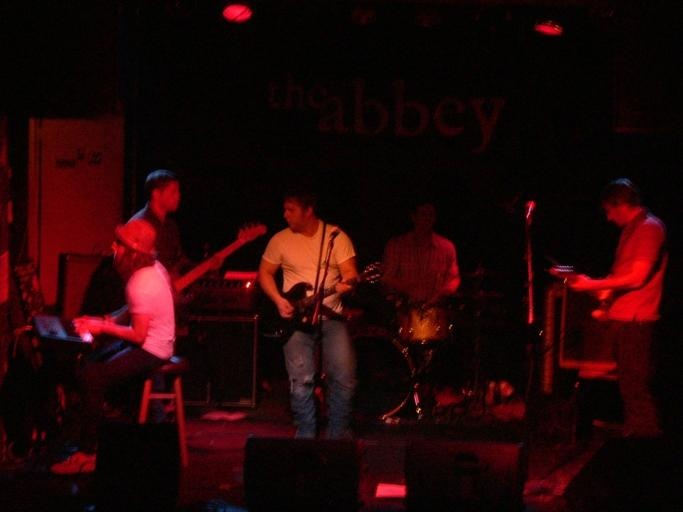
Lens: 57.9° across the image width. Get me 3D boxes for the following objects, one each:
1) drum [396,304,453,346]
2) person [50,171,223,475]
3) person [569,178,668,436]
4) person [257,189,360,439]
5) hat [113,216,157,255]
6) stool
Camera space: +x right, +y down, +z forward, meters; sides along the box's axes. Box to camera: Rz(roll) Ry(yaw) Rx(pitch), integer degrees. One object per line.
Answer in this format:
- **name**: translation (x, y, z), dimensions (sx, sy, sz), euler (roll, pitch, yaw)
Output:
- **drum**: translation (0.773, 0.608, 5.645), dimensions (0.474, 0.363, 0.467), euler (-5, 1, 0)
- **person**: translation (-1.617, 0.689, 4.520), dimensions (0.727, 1.892, 0.407), euler (2, -3, -7)
- **person**: translation (2.300, 0.403, 4.997), dimensions (0.637, 2.063, 0.381), euler (1, -3, 20)
- **person**: translation (-0.248, 0.437, 4.764), dimensions (0.496, 1.853, 0.751), euler (4, -4, -43)
- **hat**: translation (-1.466, -0.160, 4.465), dimensions (0.267, 0.103, 0.240), euler (34, -12, 0)
- **stool**: translation (-1.371, 1.187, 4.675), dimensions (0.443, 0.730, 0.434), euler (1, -7, -5)
